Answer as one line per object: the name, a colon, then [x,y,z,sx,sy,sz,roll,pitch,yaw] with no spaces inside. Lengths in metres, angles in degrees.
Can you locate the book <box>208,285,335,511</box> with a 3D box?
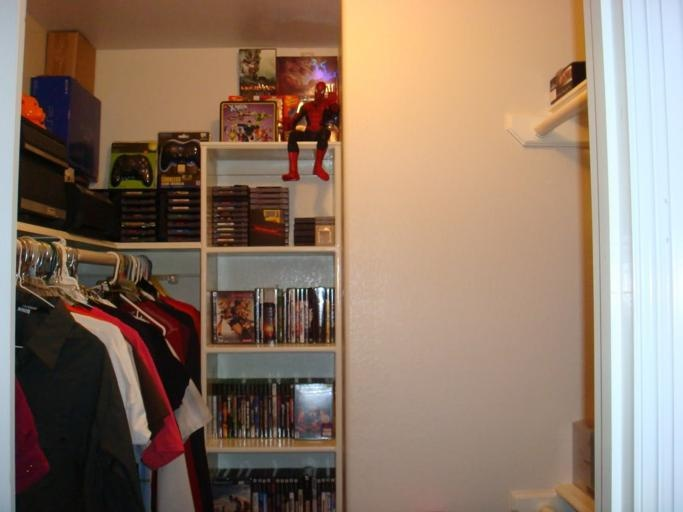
book: [-0.301,0.605,2.934,0.556,0.938,0.398,1,-2,-3]

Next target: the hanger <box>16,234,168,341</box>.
hanger: [-0.906,0.048,2.375,0.264,0.219,0.807,1,-1,-6]

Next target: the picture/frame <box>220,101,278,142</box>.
picture/frame: [-0.413,-0.599,2.968,0.181,0.166,0.062,-1,-3,1]
